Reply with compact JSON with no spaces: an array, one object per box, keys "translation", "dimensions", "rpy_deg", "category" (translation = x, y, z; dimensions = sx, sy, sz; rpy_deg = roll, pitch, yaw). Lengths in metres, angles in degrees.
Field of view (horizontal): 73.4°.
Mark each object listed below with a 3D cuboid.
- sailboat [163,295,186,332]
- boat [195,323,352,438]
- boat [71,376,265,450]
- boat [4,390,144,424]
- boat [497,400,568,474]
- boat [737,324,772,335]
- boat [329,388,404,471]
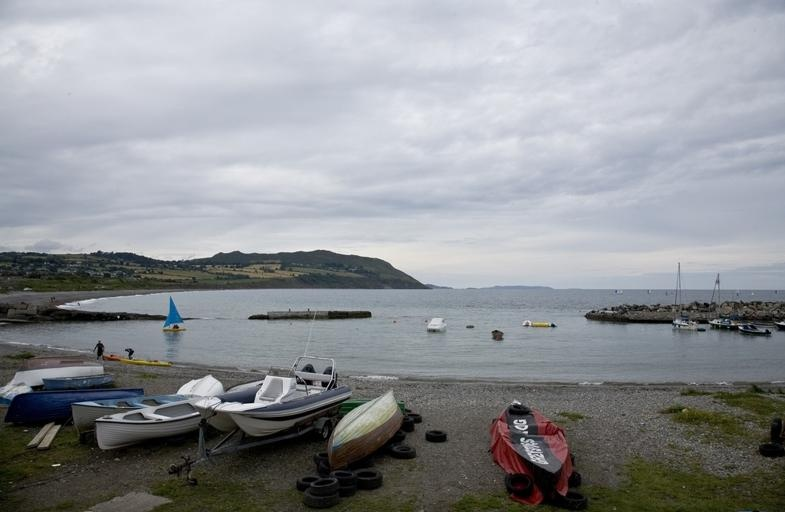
[{"translation":[-28.850,7.742,69.497],"dimensions":[1.540,4.042,4.679],"rpy_deg":[-2,-7,16],"category":"sailboat"},{"translation":[-5.116,6.352,23.892],"dimensions":[3.710,2.213,5.596],"rpy_deg":[2,3,30],"category":"boat"},{"translation":[-10.491,7.129,23.991],"dimensions":[3.464,1.033,4.957],"rpy_deg":[-2,-6,27],"category":"boat"},{"translation":[-15.845,6.971,24.819],"dimensions":[7.228,1.196,1.912],"rpy_deg":[4,-18,-22],"category":"boat"},{"translation":[5.645,7.375,21.779],"dimensions":[2.897,0.514,5.110],"rpy_deg":[-5,12,-7],"category":"boat"},{"translation":[51.346,10.727,74.795],"dimensions":[3.773,0.887,2.121],"rpy_deg":[3,4,33],"category":"boat"},{"translation":[-1.142,7.337,22.030],"dimensions":[1.126,2.726,3.757],"rpy_deg":[1,0,34],"category":"boat"}]
